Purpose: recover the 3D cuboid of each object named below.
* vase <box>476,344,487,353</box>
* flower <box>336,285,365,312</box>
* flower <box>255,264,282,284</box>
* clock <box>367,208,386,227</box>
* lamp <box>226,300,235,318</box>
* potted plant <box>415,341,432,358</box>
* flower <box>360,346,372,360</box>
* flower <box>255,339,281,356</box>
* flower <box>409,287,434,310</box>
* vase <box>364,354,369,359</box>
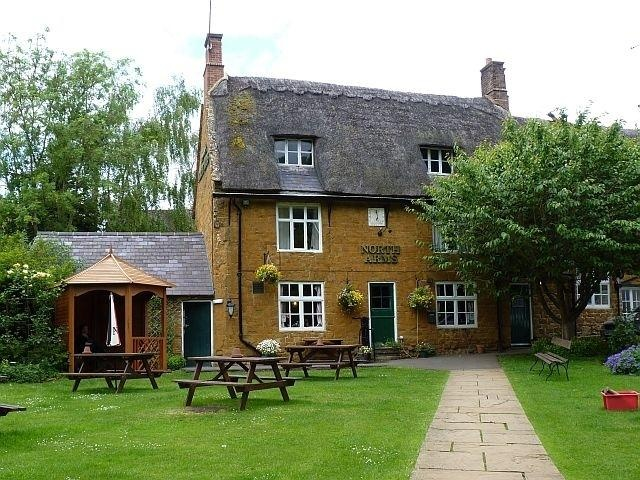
[{"bbox_3d":[6.500,4.381,25.283,0.290,0.269,0.304,-1,-6,13],"label":"vase"},{"bbox_3d":[1.262,2.203,23.744,0.929,1.015,0.940,-2,-7,34],"label":"flower"},{"bbox_3d":[-1.881,1.232,23.072,0.681,0.643,0.711,-1,-2,26],"label":"flower"},{"bbox_3d":[2.220,-0.881,24.682,0.640,0.680,0.068,6,-14,-23],"label":"clock"},{"bbox_3d":[-3.236,2.487,22.710,0.278,0.655,0.337,0,-1,-2],"label":"lamp"},{"bbox_3d":[4.094,4.267,24.387,0.476,0.457,0.492,0,-2,-6],"label":"potted plant"},{"bbox_3d":[1.702,4.181,23.334,0.448,0.552,0.865,-1,-1,14],"label":"flower"},{"bbox_3d":[-1.765,3.806,22.185,0.563,0.561,0.712,0,-3,5],"label":"flower"},{"bbox_3d":[4.032,2.302,24.492,1.035,0.963,0.611,0,-1,-18],"label":"flower"},{"bbox_3d":[1.775,4.360,23.507,0.205,0.214,0.138,5,-11,-27],"label":"vase"}]
